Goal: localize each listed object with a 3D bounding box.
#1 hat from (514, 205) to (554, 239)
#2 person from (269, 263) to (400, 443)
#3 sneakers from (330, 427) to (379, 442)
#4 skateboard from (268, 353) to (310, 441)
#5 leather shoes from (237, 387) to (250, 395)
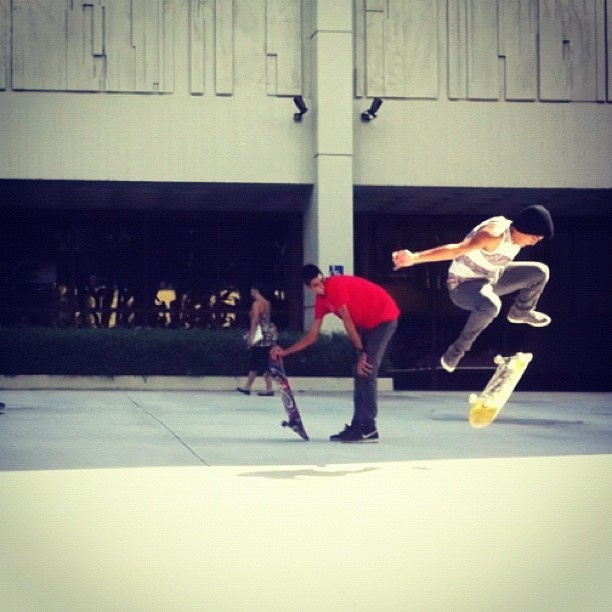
[{"bbox_3d":[2.090,-0.755,10.007,0.337,0.286,0.241,-4,24,-39],"label":"hat"},{"bbox_3d":[0.430,0.524,10.893,1.236,1.836,0.674,-1,5,-45],"label":"person"},{"bbox_3d":[0.488,1.292,11.304,0.520,0.242,0.189,3,-3,-1],"label":"sneakers"},{"bbox_3d":[-0.197,0.975,11.440,0.187,1.195,0.274,-13,17,1],"label":"skateboard"},{"bbox_3d":[-1.106,1.488,19.063,0.228,0.095,0.085,34,1,3],"label":"leather shoes"}]
